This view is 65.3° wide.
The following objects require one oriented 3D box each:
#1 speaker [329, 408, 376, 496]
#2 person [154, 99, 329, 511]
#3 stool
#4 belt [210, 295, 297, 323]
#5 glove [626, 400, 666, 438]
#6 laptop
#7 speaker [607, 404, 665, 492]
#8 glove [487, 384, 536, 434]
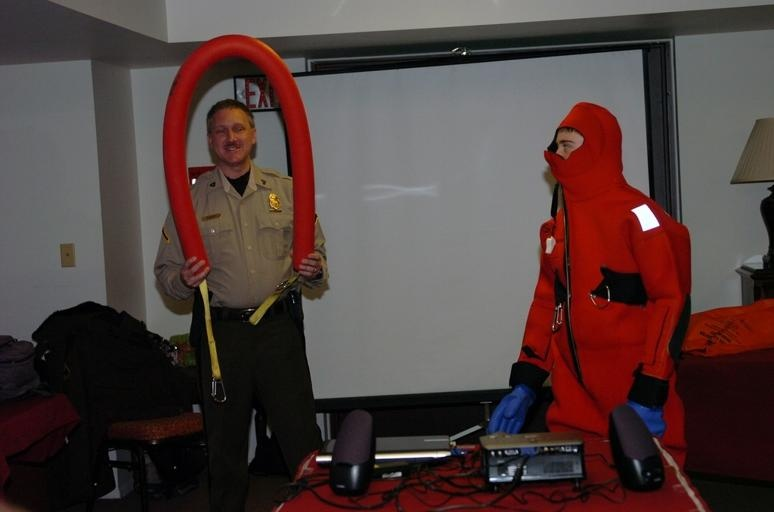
[{"bbox_3d":[-0.125,0.715,2.180,0.125,0.282,0.086,-1,-30,17],"label":"speaker"},{"bbox_3d":[-0.697,0.253,3.209,0.673,2.113,0.505,-3,10,-8],"label":"person"},{"bbox_3d":[-1.363,1.167,3.738,0.637,0.635,0.563,-9,-18,28],"label":"stool"},{"bbox_3d":[-0.686,0.277,3.142,0.467,0.130,0.088,-3,10,-5],"label":"belt"},{"bbox_3d":[0.955,0.611,2.240,0.123,0.121,0.073,9,-4,-22],"label":"glove"},{"bbox_3d":[0.058,0.740,2.303,0.320,0.047,0.195,-1,2,0],"label":"laptop"},{"bbox_3d":[0.895,0.669,2.180,0.163,0.106,0.318,-5,36,-4],"label":"speaker"},{"bbox_3d":[0.511,0.643,2.467,0.242,0.134,0.063,-47,-10,-8],"label":"glove"}]
